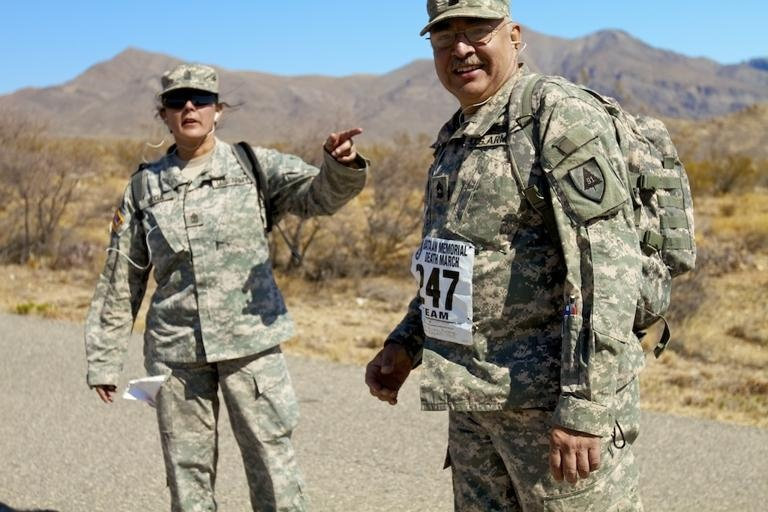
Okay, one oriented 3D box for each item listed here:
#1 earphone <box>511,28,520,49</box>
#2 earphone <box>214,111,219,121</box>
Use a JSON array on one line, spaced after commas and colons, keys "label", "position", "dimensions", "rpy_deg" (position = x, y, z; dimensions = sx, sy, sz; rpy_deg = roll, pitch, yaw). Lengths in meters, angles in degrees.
[{"label": "earphone", "position": [1.211, -2.054, 10.845], "dimensions": [0.103, 0.145, 0.053], "rpy_deg": [-2, -6, -10]}, {"label": "earphone", "position": [-1.649, -1.400, 11.586], "dimensions": [0.047, 0.071, 0.024], "rpy_deg": [-5, 8, -34]}]
